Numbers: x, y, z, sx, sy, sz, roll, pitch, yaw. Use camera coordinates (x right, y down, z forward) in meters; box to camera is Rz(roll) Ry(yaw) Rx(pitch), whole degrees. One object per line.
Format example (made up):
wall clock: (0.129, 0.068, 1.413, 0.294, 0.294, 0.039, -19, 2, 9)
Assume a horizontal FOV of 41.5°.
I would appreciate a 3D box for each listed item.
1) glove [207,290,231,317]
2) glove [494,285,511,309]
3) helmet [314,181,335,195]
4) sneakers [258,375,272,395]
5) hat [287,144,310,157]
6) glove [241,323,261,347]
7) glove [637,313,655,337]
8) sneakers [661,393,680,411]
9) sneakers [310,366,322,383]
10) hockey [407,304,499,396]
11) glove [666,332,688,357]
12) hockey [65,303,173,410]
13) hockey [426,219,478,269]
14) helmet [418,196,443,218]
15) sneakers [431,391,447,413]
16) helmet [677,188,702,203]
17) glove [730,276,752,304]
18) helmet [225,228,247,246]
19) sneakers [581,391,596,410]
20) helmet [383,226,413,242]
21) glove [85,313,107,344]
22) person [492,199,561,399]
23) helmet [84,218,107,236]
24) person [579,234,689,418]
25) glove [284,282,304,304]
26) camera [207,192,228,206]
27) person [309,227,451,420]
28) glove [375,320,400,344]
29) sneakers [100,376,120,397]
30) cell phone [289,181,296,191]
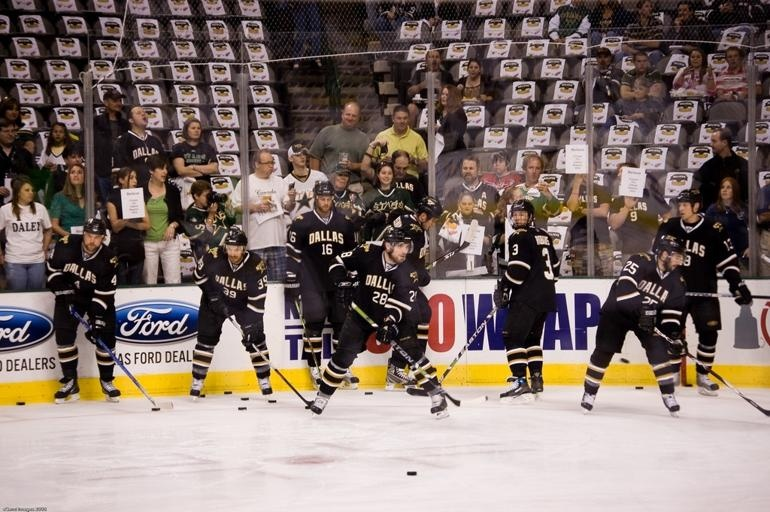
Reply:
glove: (-1.845, 0.542, 11.479, 0.118, 0.305, 0.201, -40, 23, -30)
glove: (1.314, 0.466, 11.474, 0.138, 0.228, 0.210, 1, 5, 26)
helmet: (-0.723, -0.786, 11.874, 0.227, 0.170, 0.185, -2, 4, -7)
sneakers: (-1.401, 1.508, 11.774, 0.131, 0.233, 0.098, -10, -8, -6)
hat: (-1.058, -1.277, 12.254, 0.240, 0.172, 0.178, -2, 4, -9)
glove: (-1.520, 0.883, 11.490, 0.195, 0.239, 0.245, -2, -12, 10)
glove: (2.771, 0.714, 10.775, 0.212, 0.221, 0.087, 4, 1, 42)
sneakers: (3.074, 1.584, 10.891, 0.099, 0.127, 0.302, -15, 45, 6)
sneakers: (-0.817, 1.410, 12.112, 0.158, 0.282, 0.210, 2, -3, -8)
hockey: (0.812, 1.225, 11.819, 0.580, 1.587, 0.091, 43, 26, 20)
glove: (3.187, 0.973, 11.040, 0.188, 0.230, 0.250, 2, -2, -11)
hockey: (-3.132, 1.166, 11.670, 0.195, 1.294, 0.158, -34, -10, -23)
hockey: (0.903, -0.099, 12.350, 0.171, 0.587, 0.582, 35, -50, -21)
helmet: (0.535, -0.549, 11.973, 0.239, 0.207, 0.258, -47, -25, 22)
sneakers: (0.564, 1.559, 10.721, 0.131, 0.236, 0.234, -3, -12, 11)
helmet: (3.536, -0.696, 11.802, 0.202, 0.199, 0.161, 6, 0, 11)
glove: (4.122, 0.400, 11.804, 0.126, 0.350, 0.213, -28, 5, 15)
helmet: (-1.711, -0.223, 11.506, 0.177, 0.220, 0.224, 1, 12, -7)
sneakers: (2.211, 1.568, 11.053, 0.125, 0.159, 0.232, 1, 0, 9)
helmet: (0.116, -0.219, 10.754, 0.279, 0.158, 0.212, -3, 4, -14)
glove: (-3.280, 0.815, 11.503, 0.227, 0.317, 0.115, 3, 2, 23)
person: (1.632, 0.478, 11.548, 0.821, 2.220, 0.394, -5, 6, -38)
helmet: (-3.280, -0.333, 11.440, 0.172, 0.211, 0.215, 2, 15, -22)
person: (2.724, 0.745, 11.014, 1.046, 1.886, 0.510, -1, 4, 9)
glove: (-1.088, 0.438, 12.058, 0.167, 0.234, 0.083, -9, 6, 6)
camera: (-1.987, -0.680, 11.982, 0.181, 0.118, 0.092, -4, 17, 29)
person: (-0.014, 0.681, 11.063, 1.450, 1.991, 0.922, 0, 5, 17)
glove: (0.028, 0.787, 10.654, 0.217, 0.275, 0.120, -1, 8, -37)
sneakers: (-3.170, 1.502, 11.647, 0.124, 0.161, 0.337, -13, 20, -38)
cell phone: (-1.127, -0.836, 12.237, 0.058, 0.070, 0.078, 0, -11, 2)
